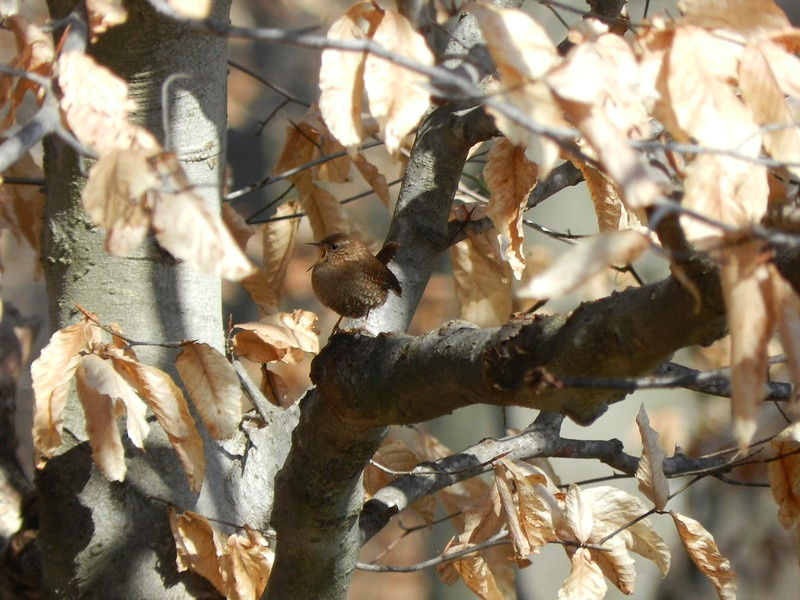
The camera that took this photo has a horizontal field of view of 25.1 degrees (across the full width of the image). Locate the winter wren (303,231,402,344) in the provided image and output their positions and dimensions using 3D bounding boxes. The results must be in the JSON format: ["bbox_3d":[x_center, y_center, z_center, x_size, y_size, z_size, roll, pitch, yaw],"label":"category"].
[{"bbox_3d":[-0.139,-0.073,6.436,0.398,0.285,0.338,-3,94,-24],"label":"winter wren"}]
